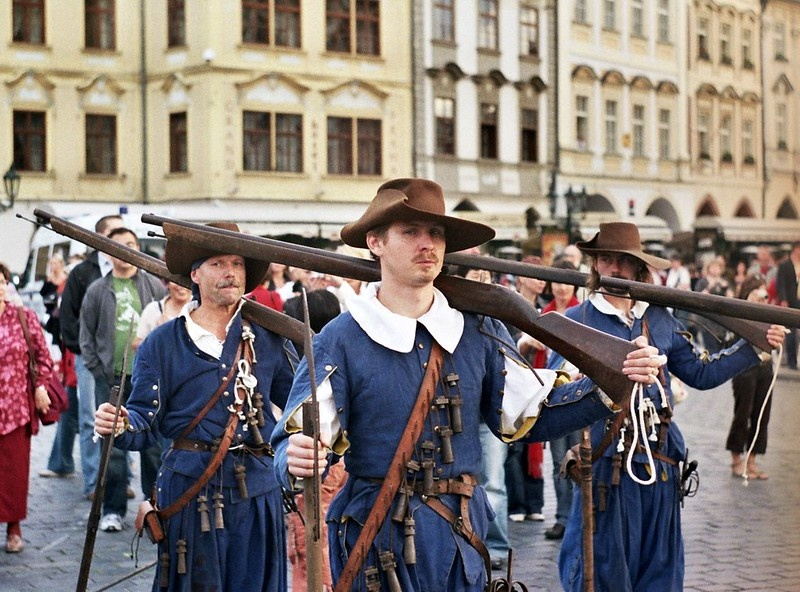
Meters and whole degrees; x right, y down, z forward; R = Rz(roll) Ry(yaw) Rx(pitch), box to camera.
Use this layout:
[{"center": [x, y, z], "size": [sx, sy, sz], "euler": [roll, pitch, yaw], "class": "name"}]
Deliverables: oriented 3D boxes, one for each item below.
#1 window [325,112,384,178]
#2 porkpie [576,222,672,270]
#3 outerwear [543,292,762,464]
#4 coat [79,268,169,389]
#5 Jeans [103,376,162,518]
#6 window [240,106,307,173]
[{"center": [-1.222, -3.984, 57.082], "size": [1.836, 1.754, 0.140], "euler": [-1, 3, -33], "class": "window"}, {"center": [3.472, -0.828, 32.839], "size": [1.502, 0.534, 1.007], "euler": [4, 11, 29], "class": "porkpie"}, {"center": [3.880, 1.130, 32.969], "size": [3.304, 0.943, 2.096], "euler": [19, 33, 22], "class": "outerwear"}, {"center": [-4.404, 0.606, 34.629], "size": [1.990, 2.052, 1.097], "euler": [-2, 3, -36], "class": "coat"}, {"center": [-4.339, 2.591, 35.331], "size": [0.808, 2.828, 0.842], "euler": [3, -5, -3], "class": "Jeans"}, {"center": [-3.265, -3.940, 56.264], "size": [1.790, 1.611, 0.125], "euler": [1, -1, -27], "class": "window"}]
